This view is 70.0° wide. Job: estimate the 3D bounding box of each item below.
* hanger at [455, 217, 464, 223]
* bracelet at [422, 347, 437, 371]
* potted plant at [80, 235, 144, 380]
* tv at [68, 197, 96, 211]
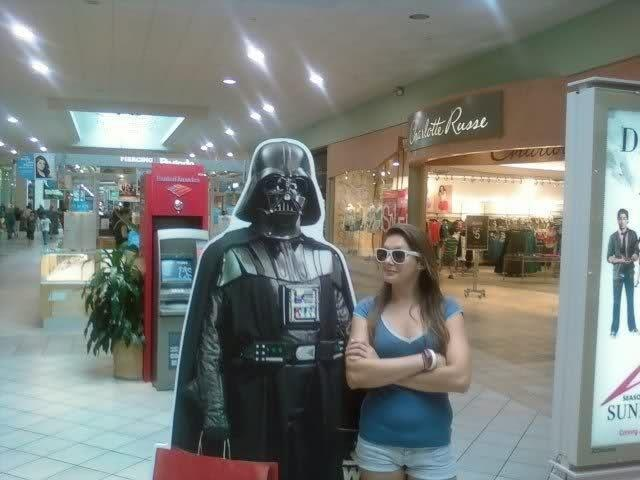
[{"bbox_3d":[4.112,-0.588,13.442,0.174,0.052,0.182,-7,14,-7],"label":"hanger"},{"bbox_3d":[0.444,0.499,1.921,0.058,0.081,0.080,3,-32,0],"label":"bracelet"},{"bbox_3d":[-2.403,0.854,5.405,0.663,1.584,0.466,0,4,-11],"label":"potted plant"},{"bbox_3d":[-4.269,-0.622,8.200,0.415,0.250,0.289,2,-4,-8],"label":"tv"}]
